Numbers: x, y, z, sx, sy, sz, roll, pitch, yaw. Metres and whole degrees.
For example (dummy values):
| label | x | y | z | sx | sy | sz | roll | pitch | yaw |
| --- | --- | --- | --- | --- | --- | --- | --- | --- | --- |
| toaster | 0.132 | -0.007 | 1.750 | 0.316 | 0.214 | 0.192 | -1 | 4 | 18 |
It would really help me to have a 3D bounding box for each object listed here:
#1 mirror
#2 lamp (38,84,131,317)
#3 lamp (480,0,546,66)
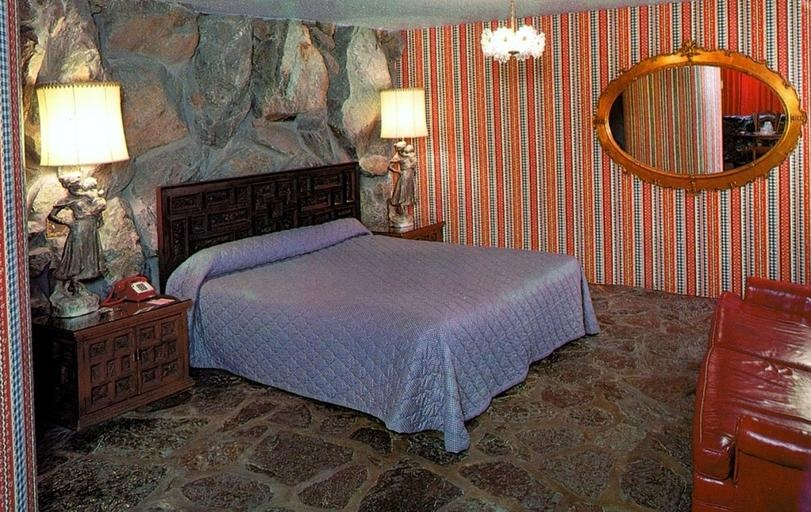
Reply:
| label | x | y | z | sx | sy | sz | roll | pitch | yaw |
| --- | --- | --- | --- | --- | --- | --- | --- | --- | --- |
| mirror | 3.064 | -1.427 | 5.809 | 1.716 | 1.335 | 0.074 | 5 | 15 | 31 |
| lamp | -2.356 | -0.430 | 4.213 | 0.499 | 1.622 | 0.719 | 17 | 23 | 41 |
| lamp | 1.103 | -2.260 | 5.741 | 0.688 | 0.696 | 0.646 | -6 | 17 | -19 |
